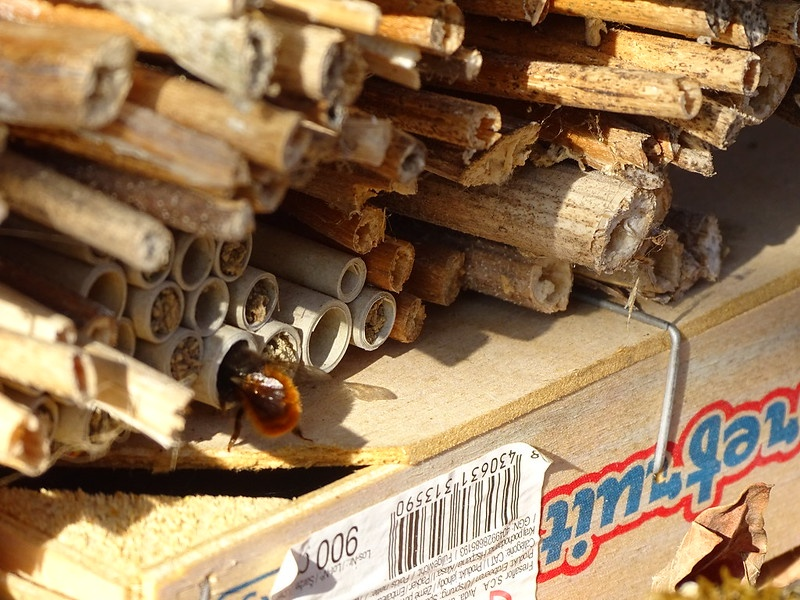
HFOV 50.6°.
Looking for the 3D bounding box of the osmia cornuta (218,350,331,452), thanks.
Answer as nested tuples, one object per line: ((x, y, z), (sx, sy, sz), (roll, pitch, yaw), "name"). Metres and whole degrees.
((-0.287, 0.200, 1.795), (0.198, 0.139, 0.170), (5, 34, -14), "osmia cornuta")
